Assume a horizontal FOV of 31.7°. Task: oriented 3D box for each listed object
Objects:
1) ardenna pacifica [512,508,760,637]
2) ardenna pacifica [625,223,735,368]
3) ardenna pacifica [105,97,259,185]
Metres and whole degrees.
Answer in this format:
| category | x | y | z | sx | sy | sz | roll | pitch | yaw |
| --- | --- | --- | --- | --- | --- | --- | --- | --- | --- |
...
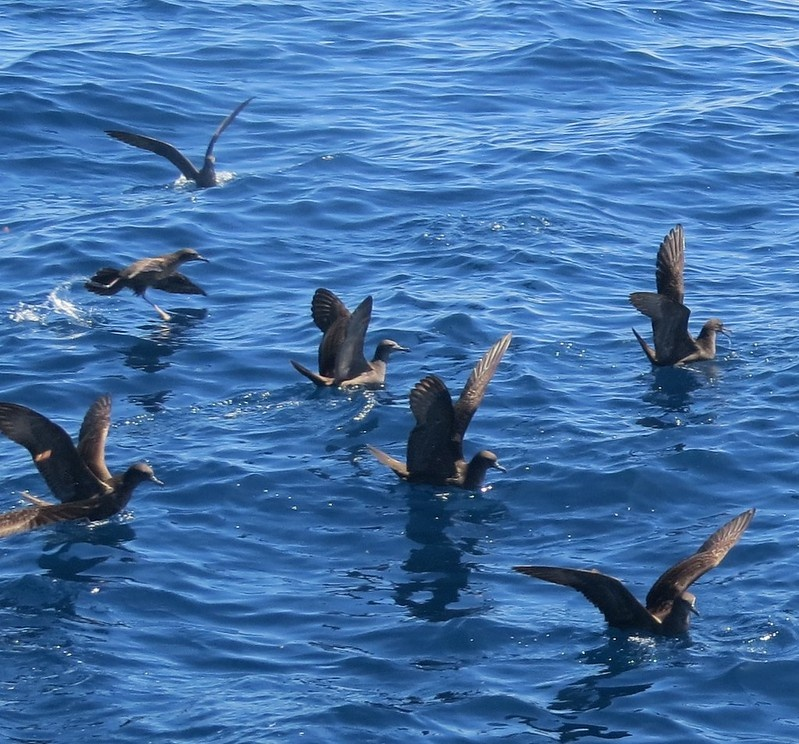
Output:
| category | x | y | z | sx | sy | sz | roll | pitch | yaw |
| --- | --- | --- | --- | --- | --- | --- | --- | --- | --- |
| ardenna pacifica | 2.510 | 2.129 | 13.724 | 2.592 | 0.971 | 0.818 | -11 | 39 | -29 |
| ardenna pacifica | 3.821 | -1.030 | 19.480 | 2.278 | 1.925 | 1.656 | 8 | 48 | 4 |
| ardenna pacifica | -4.125 | -4.161 | 25.820 | 3.414 | 1.599 | 2.173 | -8 | 19 | -18 |
